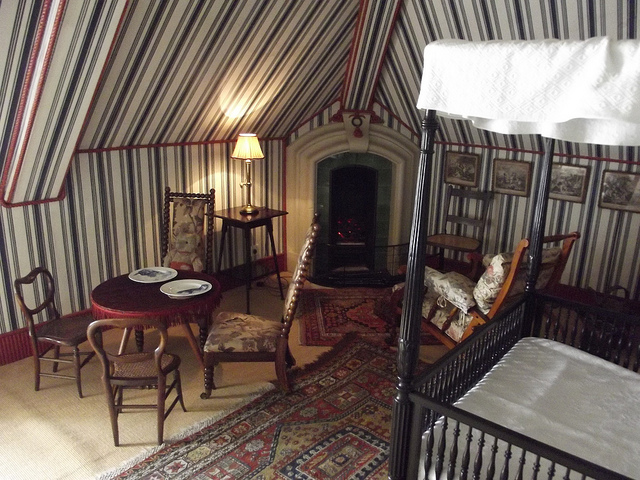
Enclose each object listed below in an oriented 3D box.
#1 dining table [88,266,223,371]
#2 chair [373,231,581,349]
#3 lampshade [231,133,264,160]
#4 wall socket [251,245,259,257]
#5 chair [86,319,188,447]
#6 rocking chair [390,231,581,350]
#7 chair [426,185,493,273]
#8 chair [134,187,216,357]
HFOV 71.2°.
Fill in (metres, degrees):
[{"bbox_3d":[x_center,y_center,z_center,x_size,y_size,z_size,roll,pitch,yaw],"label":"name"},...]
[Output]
[{"bbox_3d":[-1.375,0.715,3.861,0.953,0.720,0.971,0,32,-7],"label":"dining table"},{"bbox_3d":[1.439,0.510,4.302,1.112,1.448,1.457,-8,21,-29],"label":"chair"},{"bbox_3d":[-0.828,-1.075,5.156,0.303,0.295,0.310,3,29,4],"label":"lampshade"},{"bbox_3d":[-0.894,0.145,6.090,0.019,0.127,0.144,9,15,33],"label":"wall socket"},{"bbox_3d":[-1.332,0.964,3.283,0.588,1.017,0.648,-1,10,-12],"label":"chair"},{"bbox_3d":[1.495,0.449,3.858,0.715,0.952,0.912,-17,30,-31],"label":"rocking chair"},{"bbox_3d":[1.814,-0.145,5.704,0.709,1.216,0.799,13,27,26],"label":"chair"},{"bbox_3d":[-1.439,0.300,4.565,0.737,1.645,0.776,2,2,-21],"label":"chair"}]
